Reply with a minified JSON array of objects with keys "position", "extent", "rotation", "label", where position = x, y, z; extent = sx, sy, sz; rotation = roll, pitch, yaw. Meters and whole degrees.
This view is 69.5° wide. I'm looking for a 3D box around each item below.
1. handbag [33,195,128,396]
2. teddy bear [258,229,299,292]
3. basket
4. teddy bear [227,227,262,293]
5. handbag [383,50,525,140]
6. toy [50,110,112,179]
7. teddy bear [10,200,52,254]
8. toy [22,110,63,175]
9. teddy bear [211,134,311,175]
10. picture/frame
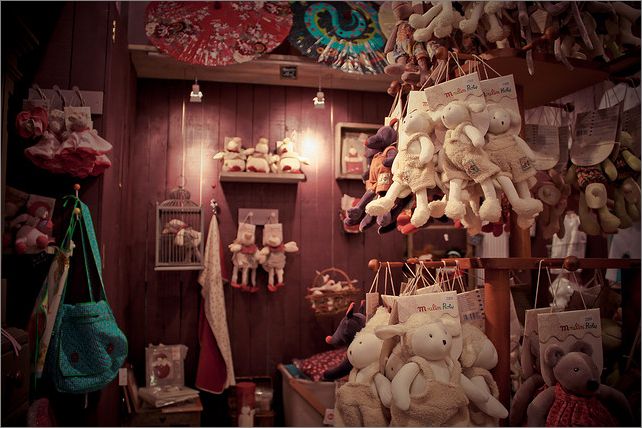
[{"position":[-1.491,0.520,2.917],"extent":[0.481,1.300,0.444],"rotation":[2,-5,-28],"label":"handbag"},{"position":[-0.385,0.401,4.139],"extent":[0.343,0.612,0.212],"rotation":[0,-5,-7],"label":"teddy bear"},{"position":[0.112,0.713,4.120],"extent":[0.475,0.447,0.448],"rotation":[0,-5,-1],"label":"basket"},{"position":[-0.676,0.390,4.068],"extent":[0.251,0.608,0.234],"rotation":[1,-5,-11],"label":"teddy bear"},{"position":[0.664,-0.508,2.375],"extent":[0.431,0.496,0.674],"rotation":[1,-5,-5],"label":"handbag"},{"position":[-1.510,-0.450,2.974],"extent":[0.306,0.402,0.266],"rotation":[-15,-22,27],"label":"toy"},{"position":[-1.800,0.043,2.885],"extent":[0.190,0.373,0.217],"rotation":[16,6,10],"label":"teddy bear"},{"position":[-1.686,-0.436,2.828],"extent":[0.205,0.341,0.178],"rotation":[3,-6,-30],"label":"toy"},{"position":[-0.523,-0.508,4.102],"extent":[0.829,0.340,0.147],"rotation":[0,-5,-7],"label":"teddy bear"},{"position":[0.388,-0.552,4.376],"extent":[0.509,0.524,0.129],"rotation":[2,-7,0],"label":"picture/frame"}]
